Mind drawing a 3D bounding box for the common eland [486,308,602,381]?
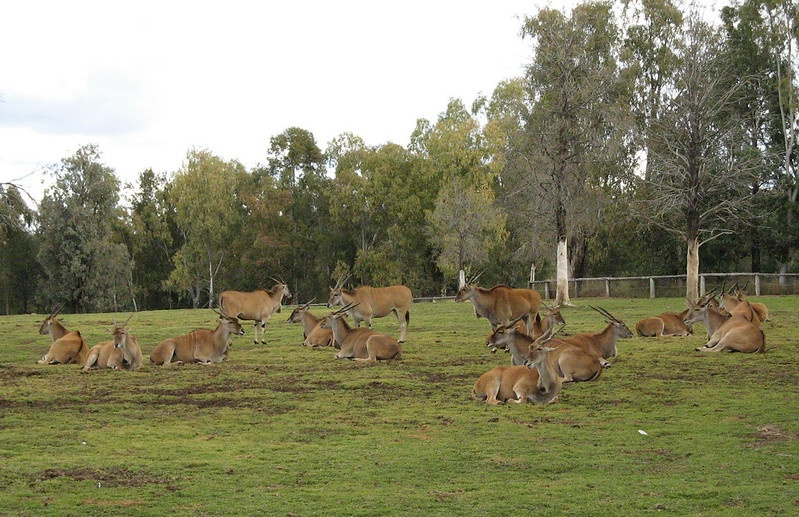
[{"bbox_3d":[4.454,2.676,27.914,3.694,2.022,1.548,7,-7,4],"label":"common eland"}]

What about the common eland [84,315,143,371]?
[{"bbox_3d":[-9.431,3.005,30.906,1.196,1.477,2.244,1,-7,-24],"label":"common eland"}]

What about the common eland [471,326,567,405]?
[{"bbox_3d":[3.144,3.362,27.383,1.510,1.839,2.607,-1,-3,-33],"label":"common eland"}]

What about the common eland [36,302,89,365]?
[{"bbox_3d":[-11.394,2.607,31.660,1.253,1.932,2.155,3,-6,-40],"label":"common eland"}]

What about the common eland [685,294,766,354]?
[{"bbox_3d":[11.106,2.279,31.888,2.420,1.715,1.446,6,4,44],"label":"common eland"}]
